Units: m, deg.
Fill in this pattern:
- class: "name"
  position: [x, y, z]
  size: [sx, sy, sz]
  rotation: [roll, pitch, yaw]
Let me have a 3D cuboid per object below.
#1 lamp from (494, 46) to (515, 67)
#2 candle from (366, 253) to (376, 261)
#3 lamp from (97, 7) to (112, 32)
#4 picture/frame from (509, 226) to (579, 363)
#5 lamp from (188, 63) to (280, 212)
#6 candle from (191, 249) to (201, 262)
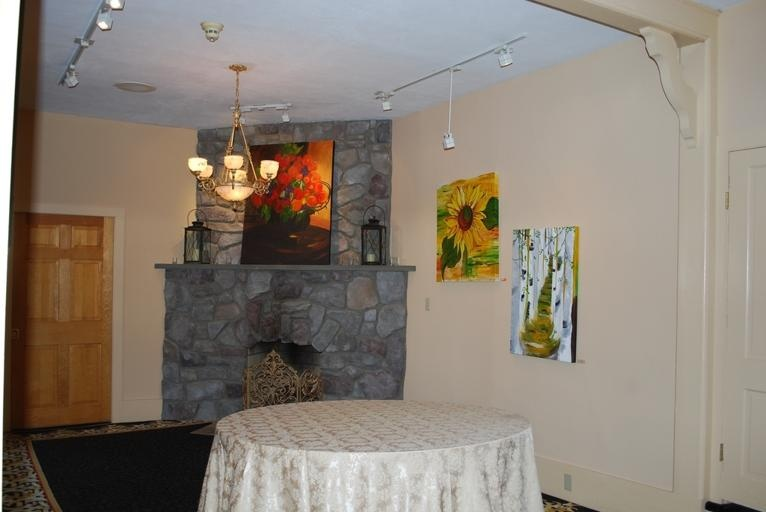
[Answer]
- class: "lamp"
  position: [0.884, -1.424, 4.098]
  size: [0.087, 0.157, 0.178]
  rotation: [1, 2, 9]
- class: "candle"
  position: [-0.117, 0.018, 5.919]
  size: [0.091, 0.087, 0.092]
  rotation: [1, 0, -32]
- class: "lamp"
  position: [-1.786, -1.505, 3.646]
  size: [0.073, 0.138, 0.121]
  rotation: [0, 2, -22]
- class: "picture/frame"
  position: [1.312, 0.291, 4.668]
  size: [0.137, 1.047, 0.607]
  rotation: [-1, 3, -41]
- class: "lamp"
  position: [-1.283, -1.034, 4.942]
  size: [0.746, 1.243, 0.955]
  rotation: [1, -2, -22]
- class: "candle"
  position: [-2.047, -0.007, 6.219]
  size: [0.126, 0.177, 0.017]
  rotation: [5, 6, 37]
